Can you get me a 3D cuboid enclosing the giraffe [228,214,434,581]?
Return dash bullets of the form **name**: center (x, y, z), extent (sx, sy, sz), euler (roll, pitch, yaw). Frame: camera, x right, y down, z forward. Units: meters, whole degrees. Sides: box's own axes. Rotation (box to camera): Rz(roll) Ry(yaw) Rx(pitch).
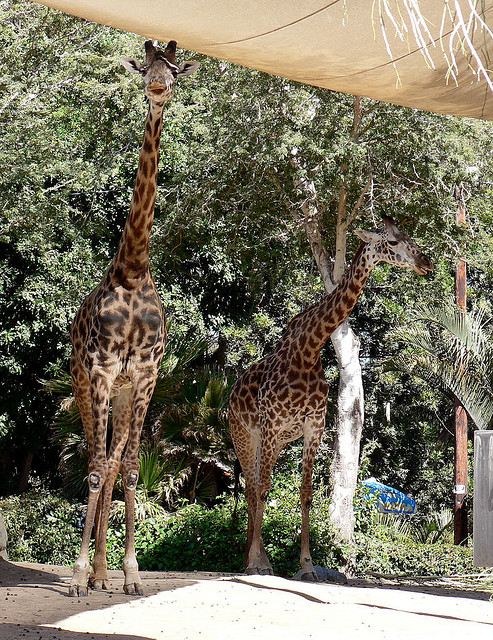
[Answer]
- **giraffe**: center (0.540, 0.695, 7.849), extent (0.999, 3.118, 2.371), euler (7, -9, -24)
